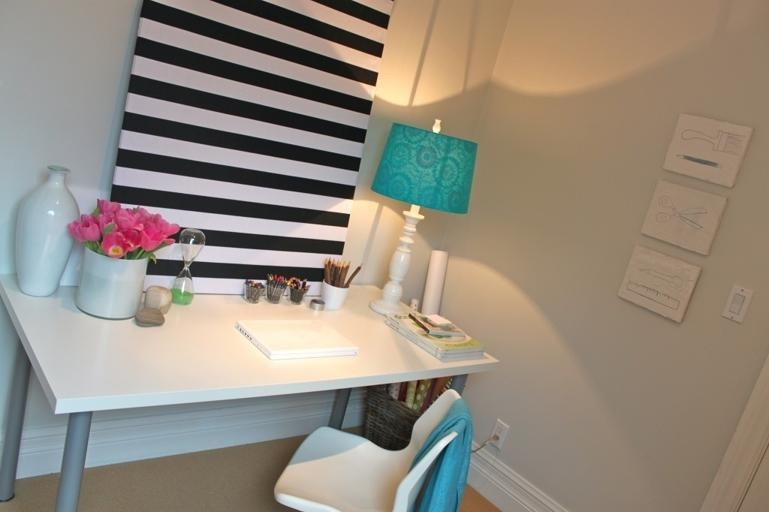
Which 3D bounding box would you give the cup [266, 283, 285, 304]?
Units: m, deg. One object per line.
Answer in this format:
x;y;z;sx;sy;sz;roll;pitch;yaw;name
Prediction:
-0.526;0.177;2.226;0.093;0.088;0.087;4;7;-1;cup

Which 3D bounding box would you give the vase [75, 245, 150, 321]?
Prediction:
-1.076;0.118;1.907;0.284;0.298;0.269;9;12;-37;vase

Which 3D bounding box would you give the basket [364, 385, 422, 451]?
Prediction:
0.012;0.913;2.577;0.338;0.259;0.333;22;-2;39;basket

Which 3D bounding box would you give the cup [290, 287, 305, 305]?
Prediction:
-0.434;0.199;2.292;0.081;0.061;0.075;4;8;-1;cup

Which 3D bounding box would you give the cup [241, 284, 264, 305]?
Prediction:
-0.620;0.172;2.170;0.088;0.076;0.093;5;13;-1;cup

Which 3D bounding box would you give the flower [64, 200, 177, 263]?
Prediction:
-1.008;-0.099;1.773;0.291;0.197;0.295;21;11;42;flower

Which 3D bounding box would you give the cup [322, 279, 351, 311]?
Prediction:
-0.262;0.208;2.384;0.140;0.116;0.127;7;5;43;cup

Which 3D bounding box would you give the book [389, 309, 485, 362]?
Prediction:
0.285;0.402;2.254;0.266;0.058;0.285;2;16;-32;book

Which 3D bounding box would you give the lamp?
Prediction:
0.163;-0.189;2.432;0.500;1.023;0.256;11;9;9;lamp
